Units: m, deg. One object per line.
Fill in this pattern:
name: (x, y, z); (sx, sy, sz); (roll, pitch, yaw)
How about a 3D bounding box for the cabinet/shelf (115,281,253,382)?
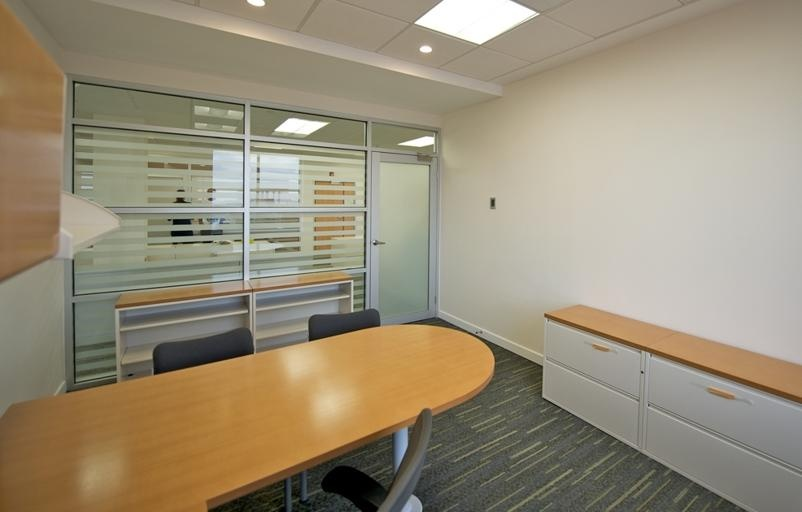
cabinet/shelf: (-2.186, 0.915, 5.211); (1.482, 1.272, 0.468); (-6, 15, -9)
